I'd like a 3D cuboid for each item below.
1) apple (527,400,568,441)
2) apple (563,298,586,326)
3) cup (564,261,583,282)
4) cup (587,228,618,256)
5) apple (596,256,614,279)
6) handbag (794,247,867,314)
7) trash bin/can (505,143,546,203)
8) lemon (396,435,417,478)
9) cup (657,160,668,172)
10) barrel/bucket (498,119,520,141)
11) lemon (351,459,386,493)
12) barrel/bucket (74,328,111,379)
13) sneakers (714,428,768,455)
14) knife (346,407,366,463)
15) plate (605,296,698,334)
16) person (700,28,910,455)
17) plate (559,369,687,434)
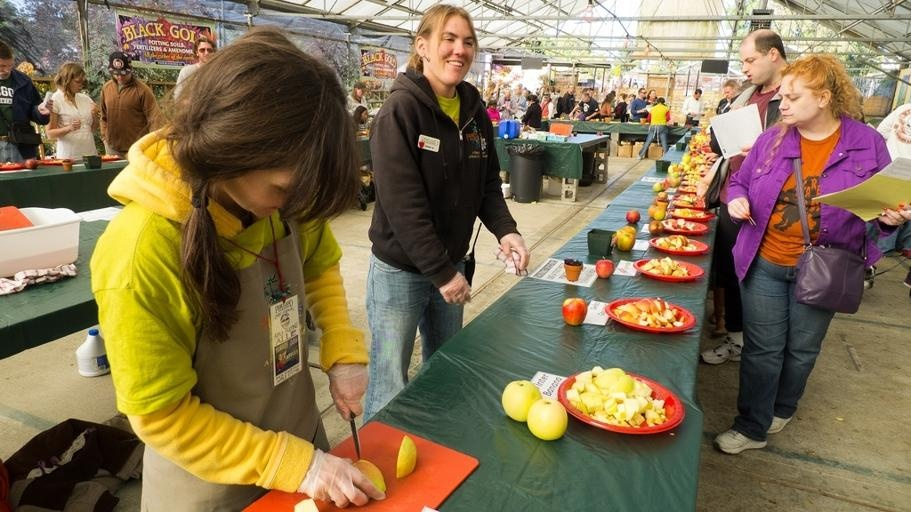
[{"bbox_3d":[0.462,0.819,2.484,0.212,0.195,0.209,-2,10,-9],"label":"apple"},{"bbox_3d":[0.748,0.346,3.154,0.166,0.193,0.162,0,9,5],"label":"apple"},{"bbox_3d":[0.867,0.112,3.627,0.145,0.143,0.141,1,5,0],"label":"cup"},{"bbox_3d":[1.220,-0.111,4.075,0.265,0.200,0.208,5,10,20],"label":"cup"},{"bbox_3d":[1.120,0.084,3.744,0.142,0.162,0.137,-17,7,-10],"label":"apple"},{"bbox_3d":[2.554,0.163,3.351,0.456,0.426,0.183,9,1,-3],"label":"handbag"},{"bbox_3d":[1.156,-1.610,9.817,1.106,1.336,0.998,-1,8,-3],"label":"trash bin/can"},{"bbox_3d":[-0.227,0.922,2.255,0.073,0.105,0.136,0,34,20],"label":"lemon"},{"bbox_3d":[3.173,-1.341,7.512,0.222,0.173,0.175,0,12,8],"label":"cup"},{"bbox_3d":[1.090,-2.527,9.936,0.323,0.301,0.427,6,27,13],"label":"barrel/bucket"},{"bbox_3d":[-0.369,0.962,2.180,0.044,0.137,0.114,-41,-10,-21],"label":"lemon"},{"bbox_3d":[-3.177,0.831,4.344,0.216,0.388,0.298,15,19,30],"label":"barrel/bucket"},{"bbox_3d":[2.192,1.435,3.875,0.393,0.176,0.168,0,42,3],"label":"sneakers"},{"bbox_3d":[-0.456,0.844,2.311,0.032,0.338,0.046,-15,23,-21],"label":"knife"},{"bbox_3d":[1.267,0.375,3.171,0.482,0.132,0.482,-7,15,-17],"label":"plate"},{"bbox_3d":[2.397,0.095,3.547,0.911,2.890,0.667,10,21,26],"label":"person"},{"bbox_3d":[0.872,0.792,2.622,0.673,0.110,0.665,1,7,12],"label":"plate"}]
